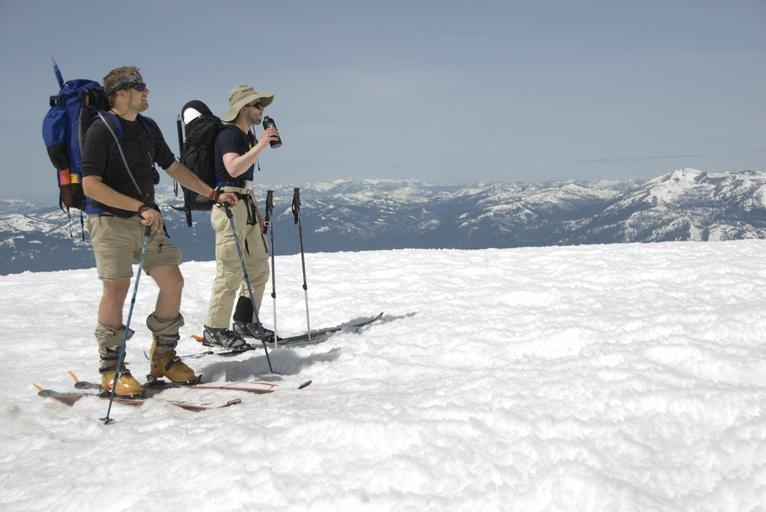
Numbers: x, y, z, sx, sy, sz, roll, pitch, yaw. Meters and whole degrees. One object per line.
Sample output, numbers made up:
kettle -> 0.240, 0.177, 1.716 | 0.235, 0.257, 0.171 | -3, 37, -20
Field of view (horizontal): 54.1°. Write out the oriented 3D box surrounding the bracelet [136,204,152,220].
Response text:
bracelet -> -2.711, -0.510, 8.548 | 0.164, 0.159, 0.088 | 4, -22, 6

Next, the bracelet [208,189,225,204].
bracelet -> -2.124, -0.768, 9.550 | 0.205, 0.082, 0.143 | -15, 4, -6
